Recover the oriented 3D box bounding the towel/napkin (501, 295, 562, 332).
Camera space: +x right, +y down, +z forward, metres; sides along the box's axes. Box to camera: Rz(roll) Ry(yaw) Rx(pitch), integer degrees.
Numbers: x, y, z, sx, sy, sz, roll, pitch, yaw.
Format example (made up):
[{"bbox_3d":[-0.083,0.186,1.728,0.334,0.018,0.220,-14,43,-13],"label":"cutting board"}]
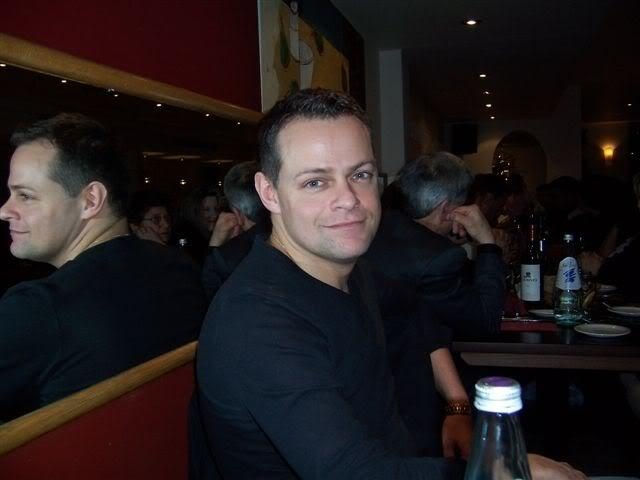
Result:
[{"bbox_3d":[0.951,0.357,2.286,0.174,0.060,0.193,-1,10,12],"label":"towel/napkin"}]
